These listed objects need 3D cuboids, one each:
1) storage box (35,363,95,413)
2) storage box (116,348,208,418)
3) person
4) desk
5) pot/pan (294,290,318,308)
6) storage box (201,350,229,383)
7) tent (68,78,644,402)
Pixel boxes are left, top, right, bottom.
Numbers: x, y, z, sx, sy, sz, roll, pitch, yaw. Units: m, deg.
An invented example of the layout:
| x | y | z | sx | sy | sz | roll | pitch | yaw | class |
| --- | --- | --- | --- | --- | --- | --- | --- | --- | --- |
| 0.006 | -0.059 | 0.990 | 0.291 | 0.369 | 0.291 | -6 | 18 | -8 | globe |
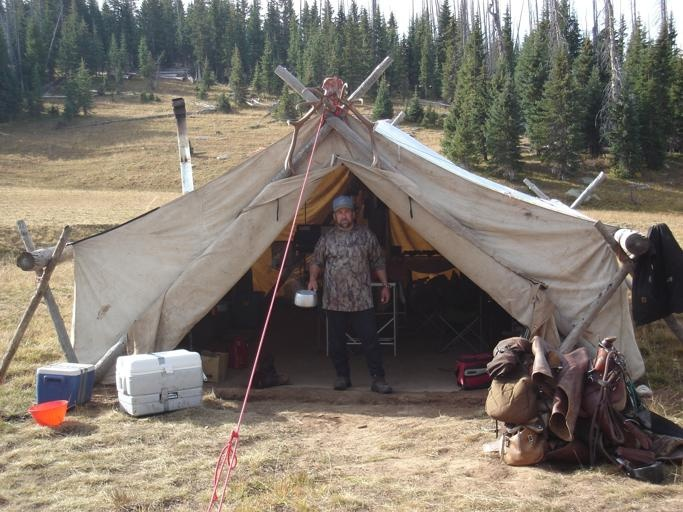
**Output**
| x | y | z | sx | sy | sz | roll | pitch | yaw | class |
| --- | --- | --- | --- | --- | --- | --- | --- | --- | --- |
| -3.645 | 1.640 | 10.980 | 0.545 | 0.500 | 0.716 | 1 | 0 | 13 | storage box |
| -2.446 | 1.670 | 11.123 | 1.043 | 0.707 | 0.700 | -2 | 1 | -34 | storage box |
| 0.120 | 0.533 | 11.672 | 1.178 | 2.743 | 0.887 | -2 | 1 | -6 | person |
| 0.163 | 1.039 | 12.949 | 1.419 | 1.379 | 1.060 | 1 | 13 | 6 | desk |
| -0.482 | 0.593 | 11.522 | 0.270 | 0.296 | 0.435 | -2 | 11 | 2 | pot/pan |
| -1.861 | 1.639 | 12.064 | 0.434 | 0.466 | 0.398 | -5 | 3 | 0 | storage box |
| 0.112 | -0.628 | 14.211 | 6.435 | 4.796 | 8.660 | 1 | 10 | 5 | tent |
